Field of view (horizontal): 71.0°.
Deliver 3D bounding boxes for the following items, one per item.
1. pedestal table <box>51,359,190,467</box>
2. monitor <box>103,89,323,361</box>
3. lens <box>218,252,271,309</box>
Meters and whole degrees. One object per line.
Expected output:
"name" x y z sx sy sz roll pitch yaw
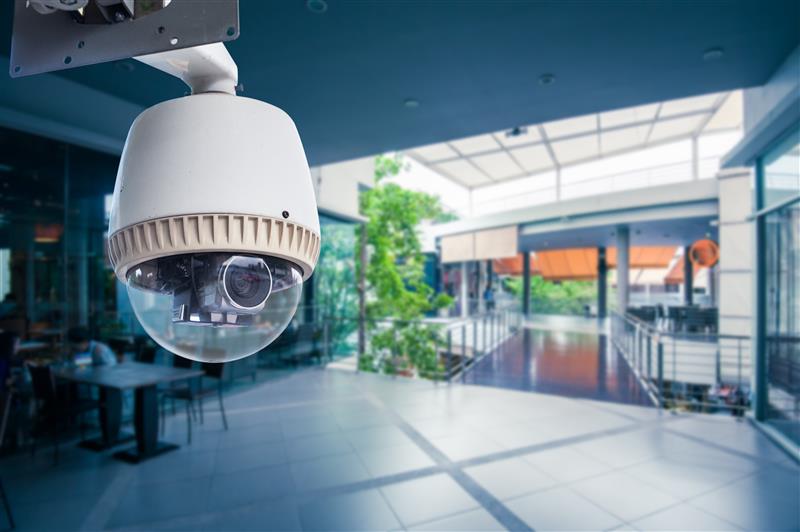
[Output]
"pedestal table" -2.510 1.385 5.192 1.213 0.628 0.721 -6 -7 35
"monitor" -0.900 -0.146 2.850 0.970 1.206 1.018 -12 -15 32
"lens" -0.693 0.053 2.475 0.229 0.261 0.133 5 -5 -33
